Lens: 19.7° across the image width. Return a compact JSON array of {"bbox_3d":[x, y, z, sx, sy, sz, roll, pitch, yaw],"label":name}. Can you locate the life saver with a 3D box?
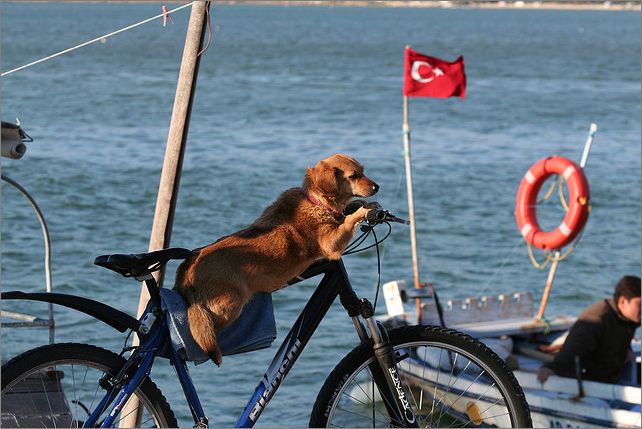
[{"bbox_3d":[7.431,-0.397,59.324,2.382,2.988,0.804,9,12,37],"label":"life saver"}]
